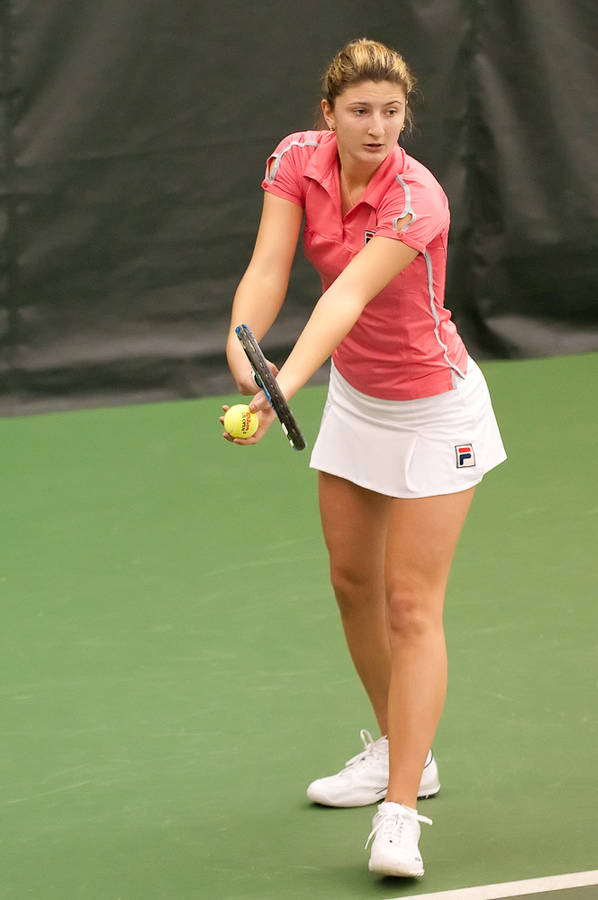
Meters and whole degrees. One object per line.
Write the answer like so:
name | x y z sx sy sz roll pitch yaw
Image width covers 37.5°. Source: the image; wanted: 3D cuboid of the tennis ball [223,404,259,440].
tennis ball | -0.085 -0.040 1.289 0.052 0.046 0.047 7 34 -20

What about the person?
person | 0.105 0.059 1.659 0.515 1.528 0.792 0 4 15

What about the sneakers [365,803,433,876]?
sneakers | 0.175 0.710 1.578 0.096 0.127 0.104 -1 4 7
